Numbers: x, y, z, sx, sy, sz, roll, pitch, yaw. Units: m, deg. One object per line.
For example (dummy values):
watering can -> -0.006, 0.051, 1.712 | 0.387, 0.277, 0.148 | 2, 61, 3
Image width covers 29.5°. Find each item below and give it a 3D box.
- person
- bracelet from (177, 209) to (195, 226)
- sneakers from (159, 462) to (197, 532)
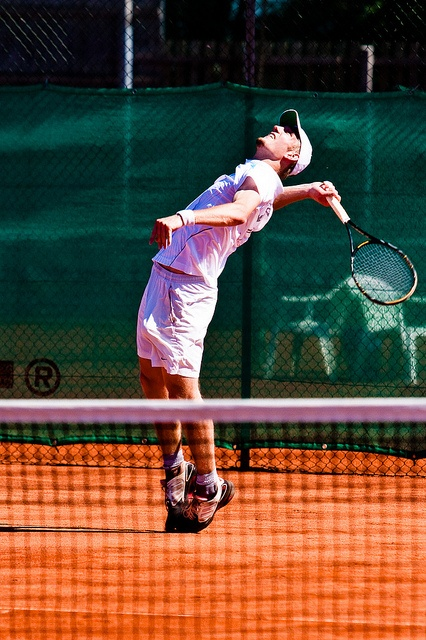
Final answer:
person -> 0.083, 0.073, 3.063 | 0.851, 1.714, 0.765 | -7, 13, -24
bracelet -> -0.084, -0.318, 2.535 | 0.049, 0.038, 0.053 | -3, -14, -11
sneakers -> -0.124, 0.683, 3.180 | 0.104, 0.302, 0.150 | 17, 17, 37
